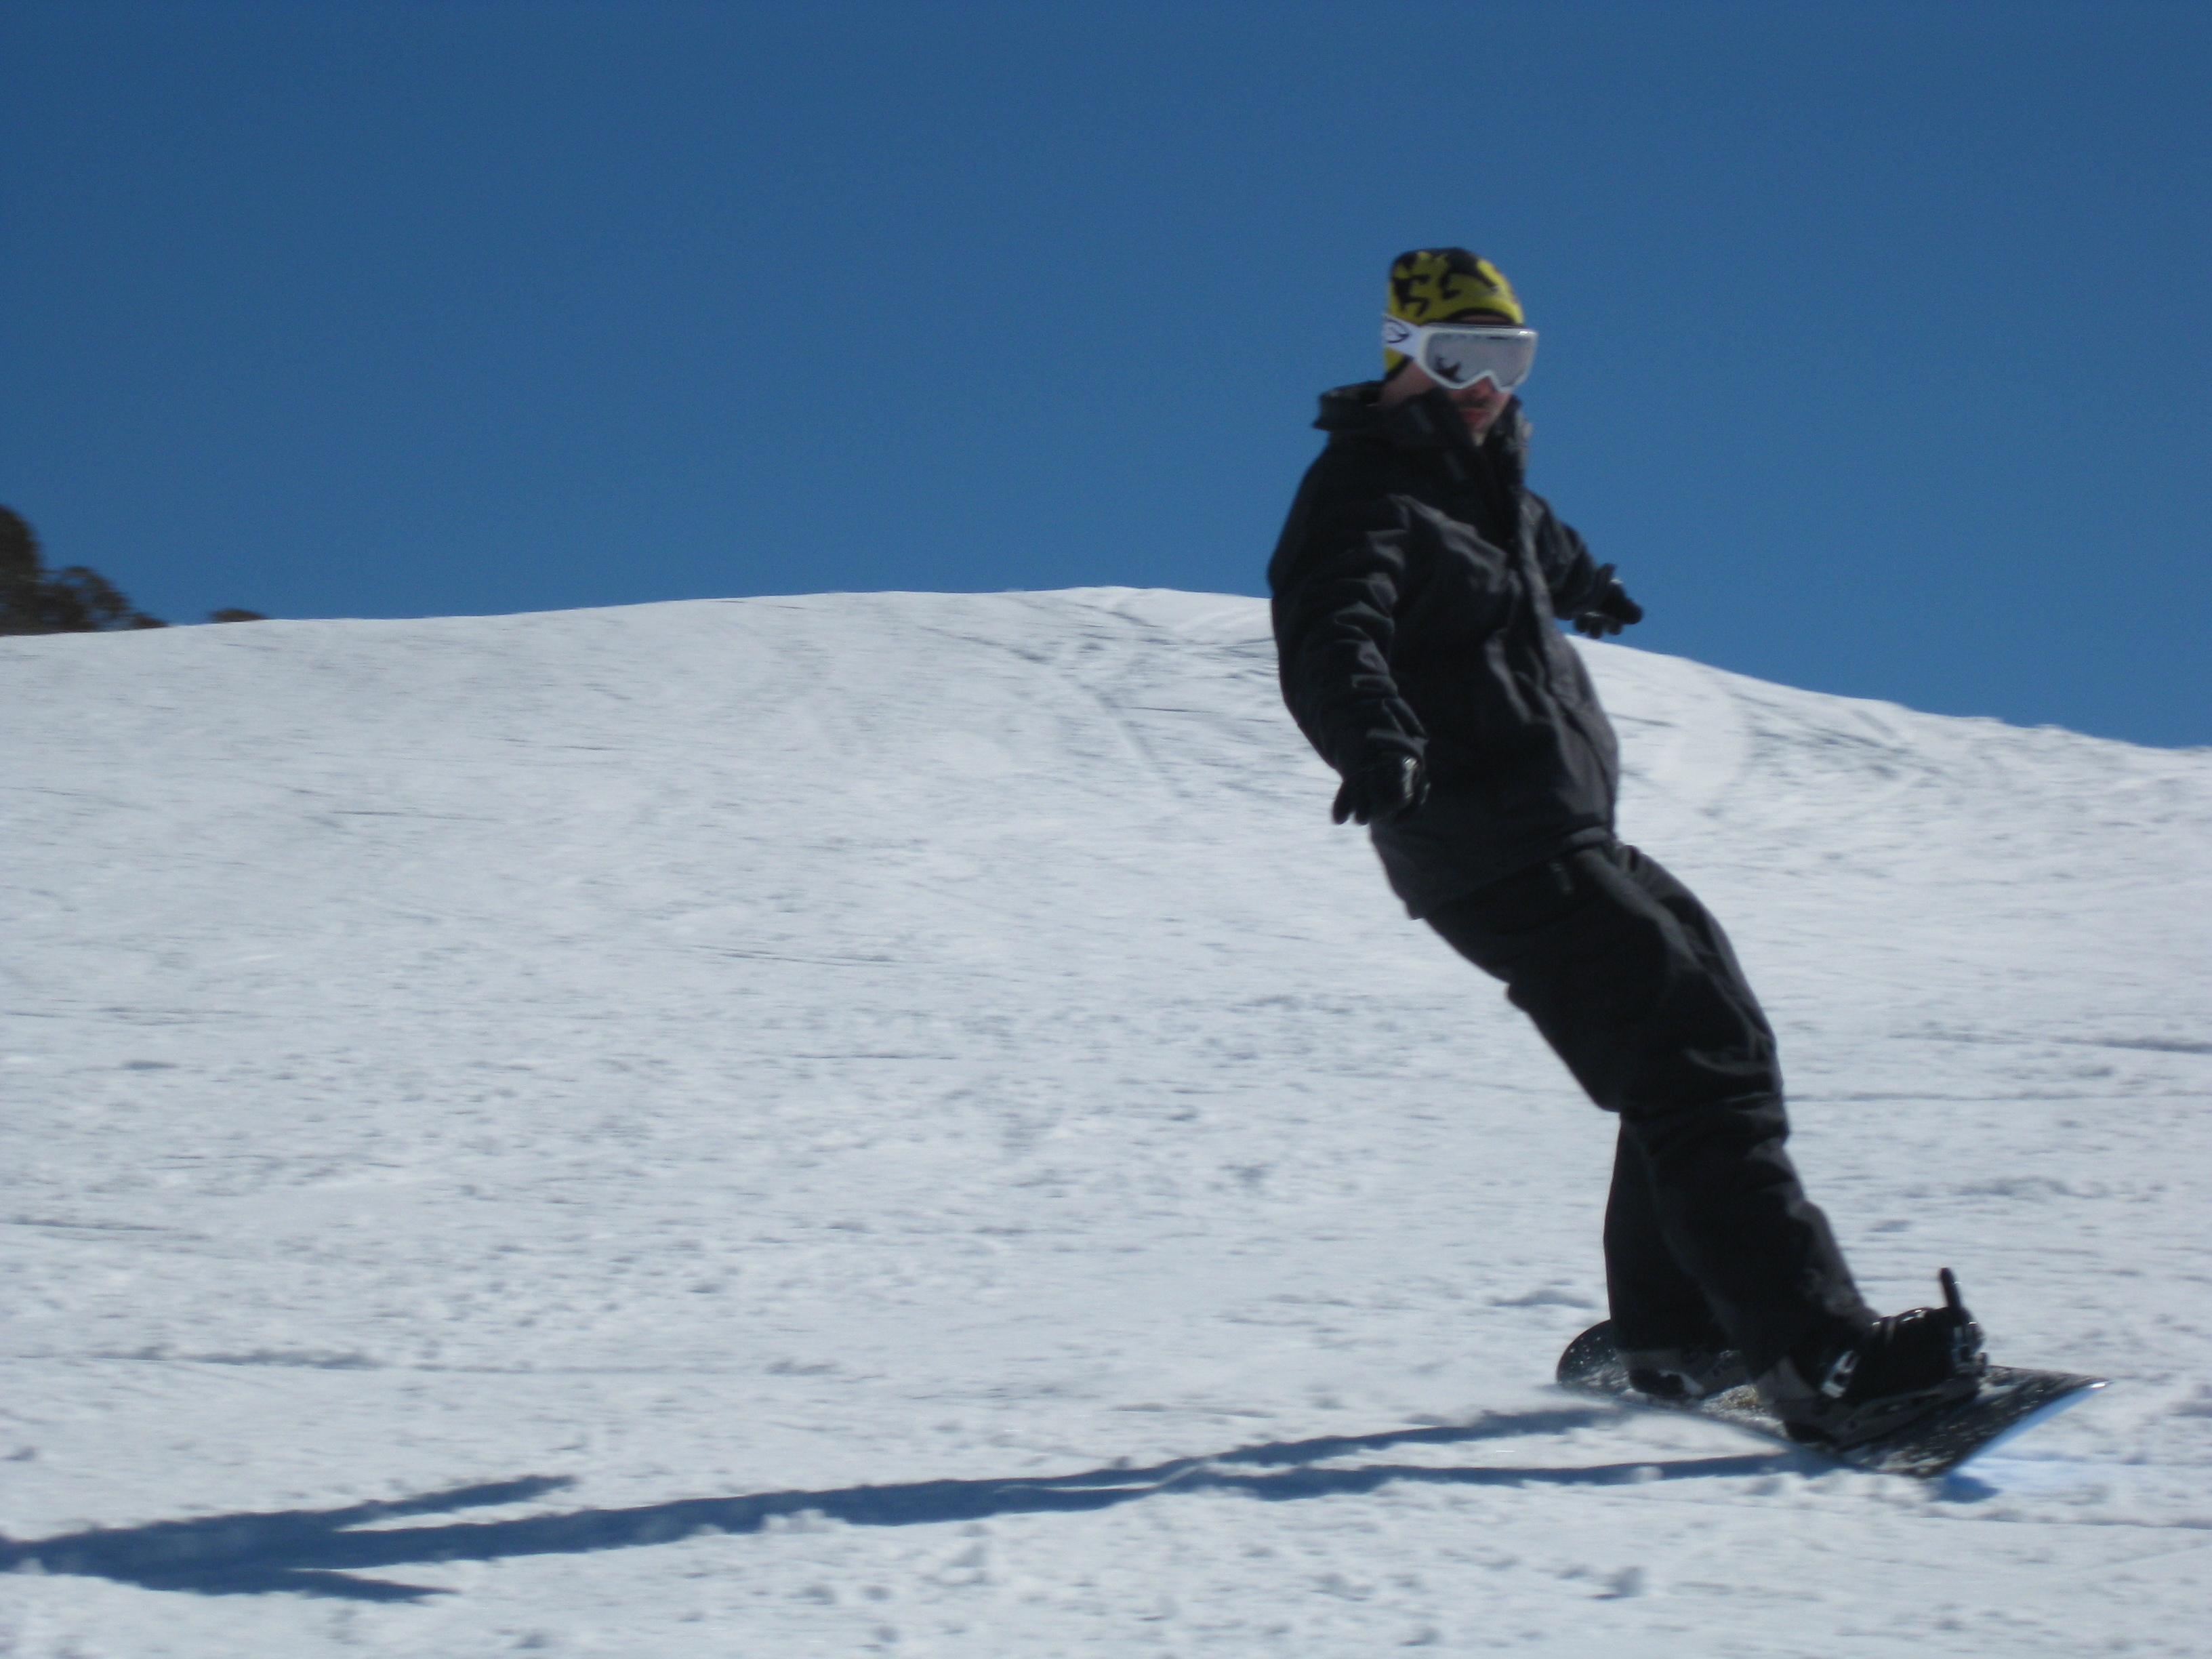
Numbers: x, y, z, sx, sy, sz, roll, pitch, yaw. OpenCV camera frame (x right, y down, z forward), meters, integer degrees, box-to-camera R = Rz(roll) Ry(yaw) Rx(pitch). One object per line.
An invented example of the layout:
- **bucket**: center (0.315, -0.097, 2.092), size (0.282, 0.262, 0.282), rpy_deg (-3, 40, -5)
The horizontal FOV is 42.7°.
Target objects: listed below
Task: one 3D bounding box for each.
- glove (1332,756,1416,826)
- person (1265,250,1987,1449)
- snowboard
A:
- **glove**: center (0.437, -0.057, 4.579), size (0.150, 0.040, 0.113), rpy_deg (-3, -47, -15)
- **person**: center (0.797, 0.001, 4.843), size (0.625, 2.111, 0.975), rpy_deg (-22, -21, 36)
- **snowboard**: center (1.304, 0.875, 4.626), size (0.804, 0.057, 0.265), rpy_deg (-3, 11, 40)
